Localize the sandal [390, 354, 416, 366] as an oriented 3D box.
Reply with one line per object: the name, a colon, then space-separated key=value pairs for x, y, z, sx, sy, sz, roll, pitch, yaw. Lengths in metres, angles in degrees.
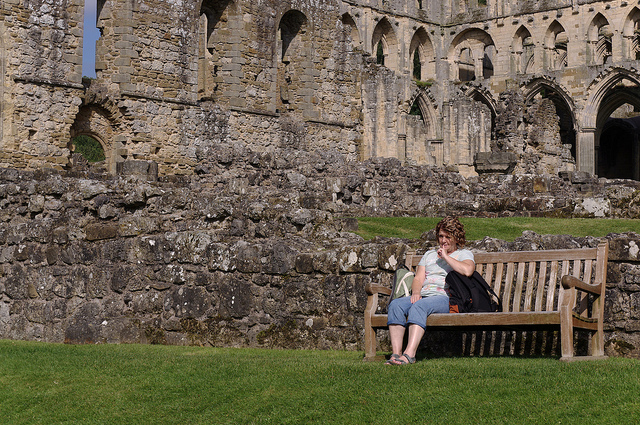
sandal: x=1.463 y=2.610 z=19.085 sx=0.418 sy=0.122 sz=0.164 roll=1 pitch=-3 yaw=-17

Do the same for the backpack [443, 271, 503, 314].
backpack: x=2.727 y=1.462 z=19.542 sx=1.023 sy=0.767 sz=0.500 roll=2 pitch=-4 yaw=6
